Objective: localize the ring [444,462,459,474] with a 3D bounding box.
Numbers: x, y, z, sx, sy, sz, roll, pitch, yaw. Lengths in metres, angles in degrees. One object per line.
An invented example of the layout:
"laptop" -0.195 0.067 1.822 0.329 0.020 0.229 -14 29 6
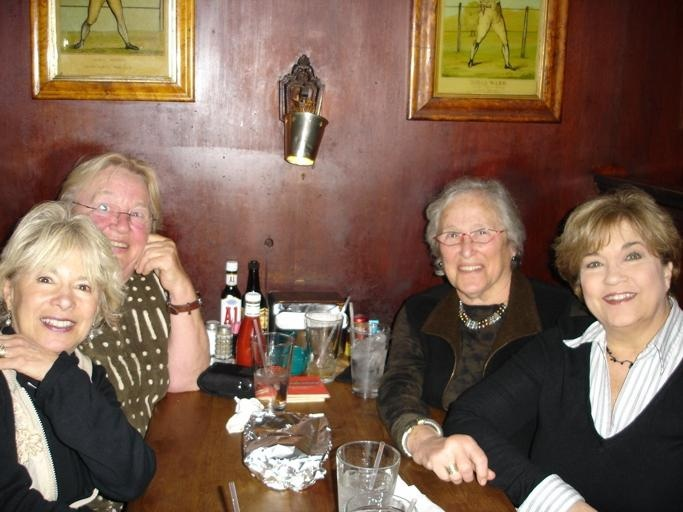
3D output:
"ring" 0.317 0.611 1.751 0.031 0.039 0.022 -4 -12 -18

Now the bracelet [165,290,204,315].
"bracelet" -0.631 0.187 2.444 0.108 0.045 0.114 -2 13 -6

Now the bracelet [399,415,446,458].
"bracelet" 0.252 0.559 1.908 0.115 0.101 0.044 -31 -8 -18

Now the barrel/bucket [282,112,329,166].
"barrel/bucket" -0.165 -0.518 2.832 0.206 0.171 0.223 10 -4 1
